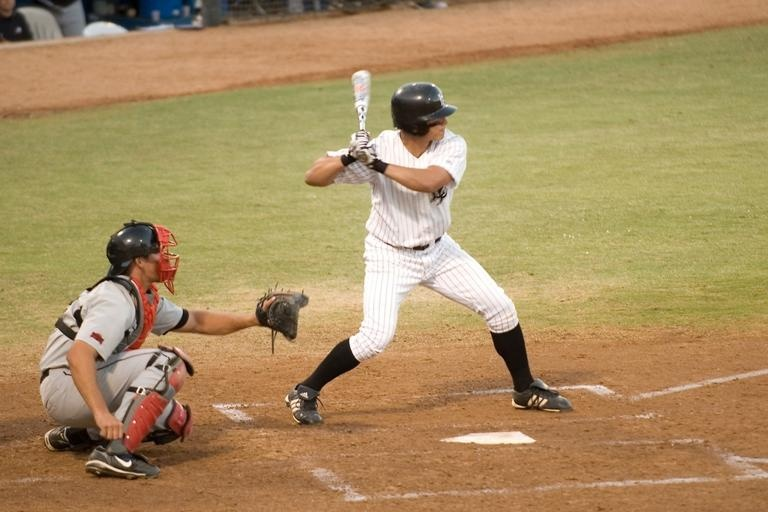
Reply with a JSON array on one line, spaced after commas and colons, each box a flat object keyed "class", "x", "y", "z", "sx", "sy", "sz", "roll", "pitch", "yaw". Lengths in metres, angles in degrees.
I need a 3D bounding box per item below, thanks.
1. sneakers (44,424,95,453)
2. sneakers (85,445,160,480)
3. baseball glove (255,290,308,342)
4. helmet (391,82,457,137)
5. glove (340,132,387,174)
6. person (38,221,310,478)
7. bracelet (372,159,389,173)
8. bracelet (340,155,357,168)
[{"class": "sneakers", "x": -2.152, "y": 1.254, "z": 8.369, "sx": 0.479, "sy": 0.107, "sz": 0.178, "roll": 0, "pitch": 4, "yaw": -11}, {"class": "sneakers", "x": -1.752, "y": 1.369, "z": 8.096, "sx": 0.616, "sy": 0.192, "sz": 0.174, "roll": 5, "pitch": 10, "yaw": -8}, {"class": "baseball glove", "x": -0.717, "y": 0.412, "z": 8.556, "sx": 0.392, "sy": 0.328, "sz": 0.201, "roll": 8, "pitch": 7, "yaw": 7}, {"class": "helmet", "x": 0.245, "y": -1.040, "z": 8.639, "sx": 0.589, "sy": 0.297, "sz": 0.341, "roll": 0, "pitch": 18, "yaw": 4}, {"class": "glove", "x": -0.141, "y": -0.722, "z": 8.566, "sx": 0.330, "sy": 0.291, "sz": 0.192, "roll": -4, "pitch": 16, "yaw": 2}, {"class": "person", "x": -1.584, "y": 0.589, "z": 8.278, "sx": 1.393, "sy": 1.655, "sz": 0.731, "roll": -15, "pitch": 19, "yaw": -32}, {"class": "bracelet", "x": -0.030, "y": -0.629, "z": 8.533, "sx": 0.143, "sy": 0.074, "sz": 0.077, "roll": 17, "pitch": -5, "yaw": -11}, {"class": "bracelet", "x": -0.260, "y": -0.684, "z": 8.633, "sx": 0.119, "sy": 0.081, "sz": 0.089, "roll": -20, "pitch": 33, "yaw": -7}]
